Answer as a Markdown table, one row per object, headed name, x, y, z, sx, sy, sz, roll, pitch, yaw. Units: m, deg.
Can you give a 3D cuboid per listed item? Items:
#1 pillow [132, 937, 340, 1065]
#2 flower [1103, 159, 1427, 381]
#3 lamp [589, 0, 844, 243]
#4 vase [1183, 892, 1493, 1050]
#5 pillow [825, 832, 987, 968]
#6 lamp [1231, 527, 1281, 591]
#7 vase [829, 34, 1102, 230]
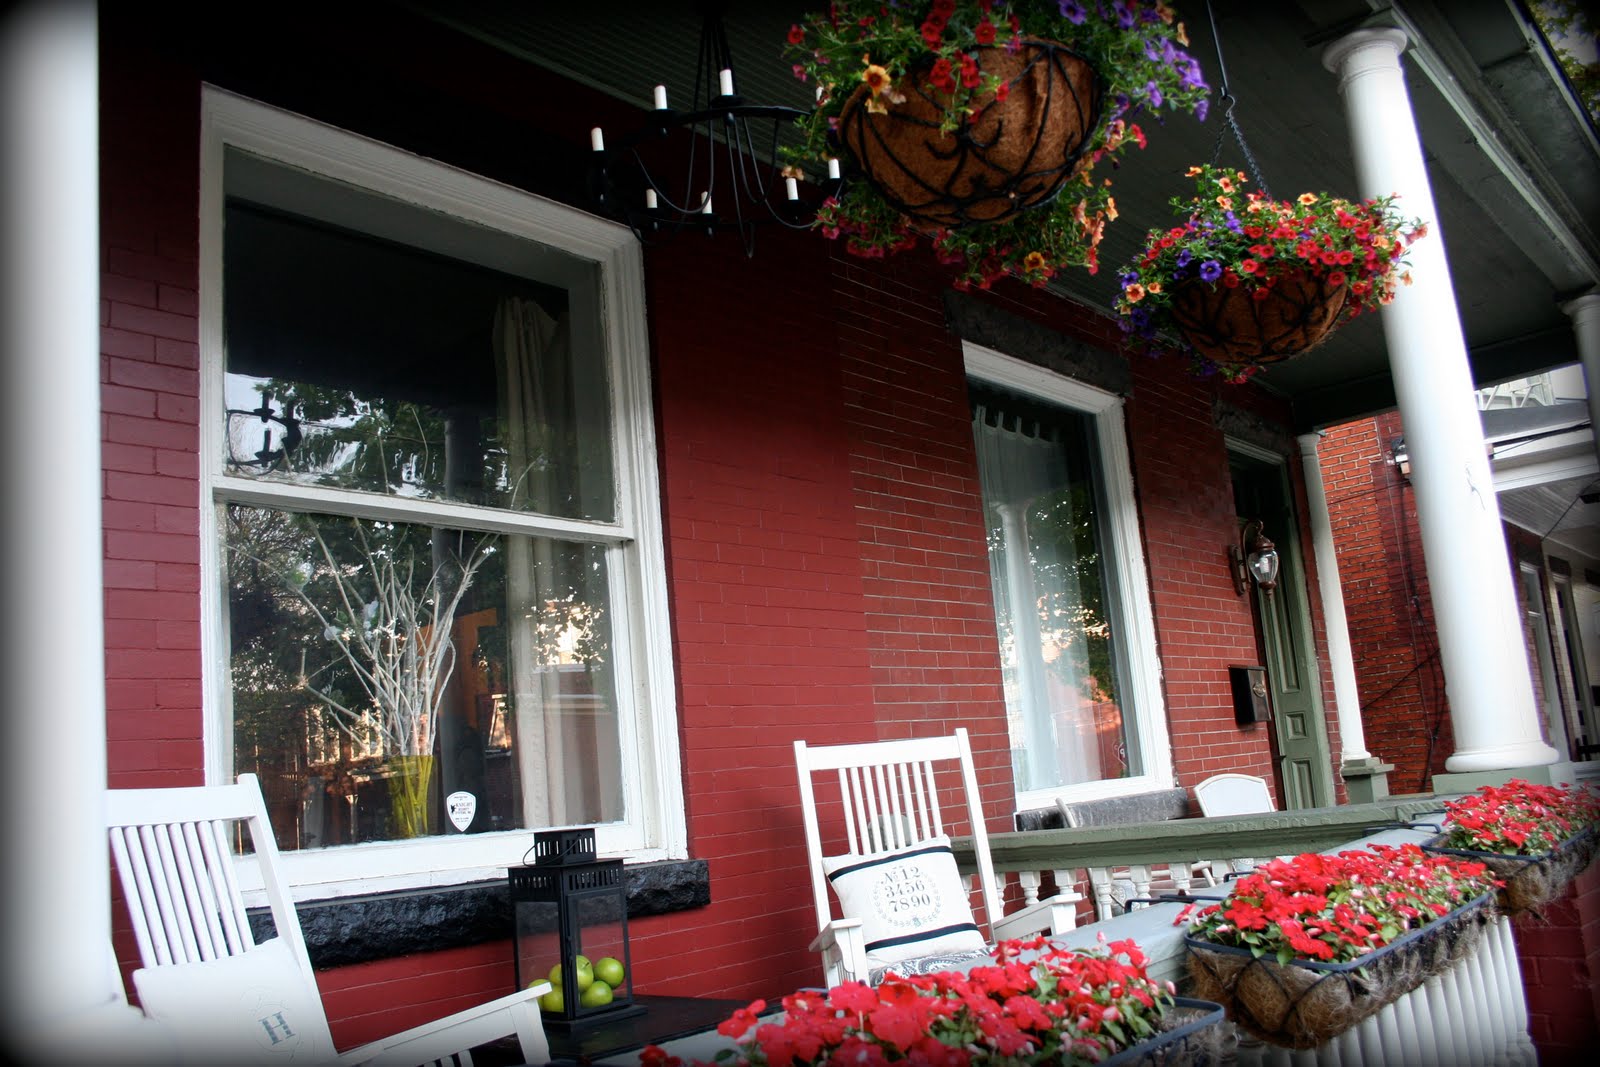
| name | x | y | z | sx | sy | sz | roll | pitch | yaw |
| --- | --- | --- | --- | --- | --- | --- | --- | --- | --- |
| pillow | -1.058 | 0.918 | 2.213 | 0.229 | 0.215 | 0.419 | -9 | -13 | 10 |
| flower | 1.241 | -0.678 | 3.189 | 0.736 | 0.453 | 0.720 | 1 | -6 | -44 |
| lamp | -0.309 | -1.339 | 3.626 | 0.723 | 0.735 | 0.699 | 10 | -30 | -17 |
| vase | 1.034 | 0.797 | 2.128 | 0.456 | 0.104 | 0.230 | 8 | -16 | -41 |
| pillow | 0.305 | 1.104 | 3.441 | 0.472 | 0.411 | 0.113 | -13 | -27 | -24 |
| lamp | 2.629 | 0.147 | 6.572 | 0.371 | 0.457 | 0.143 | 5 | -12 | -25 |
| vase | 0.359 | -0.804 | 2.333 | 0.386 | 0.145 | 0.377 | 15 | -32 | -44 |
